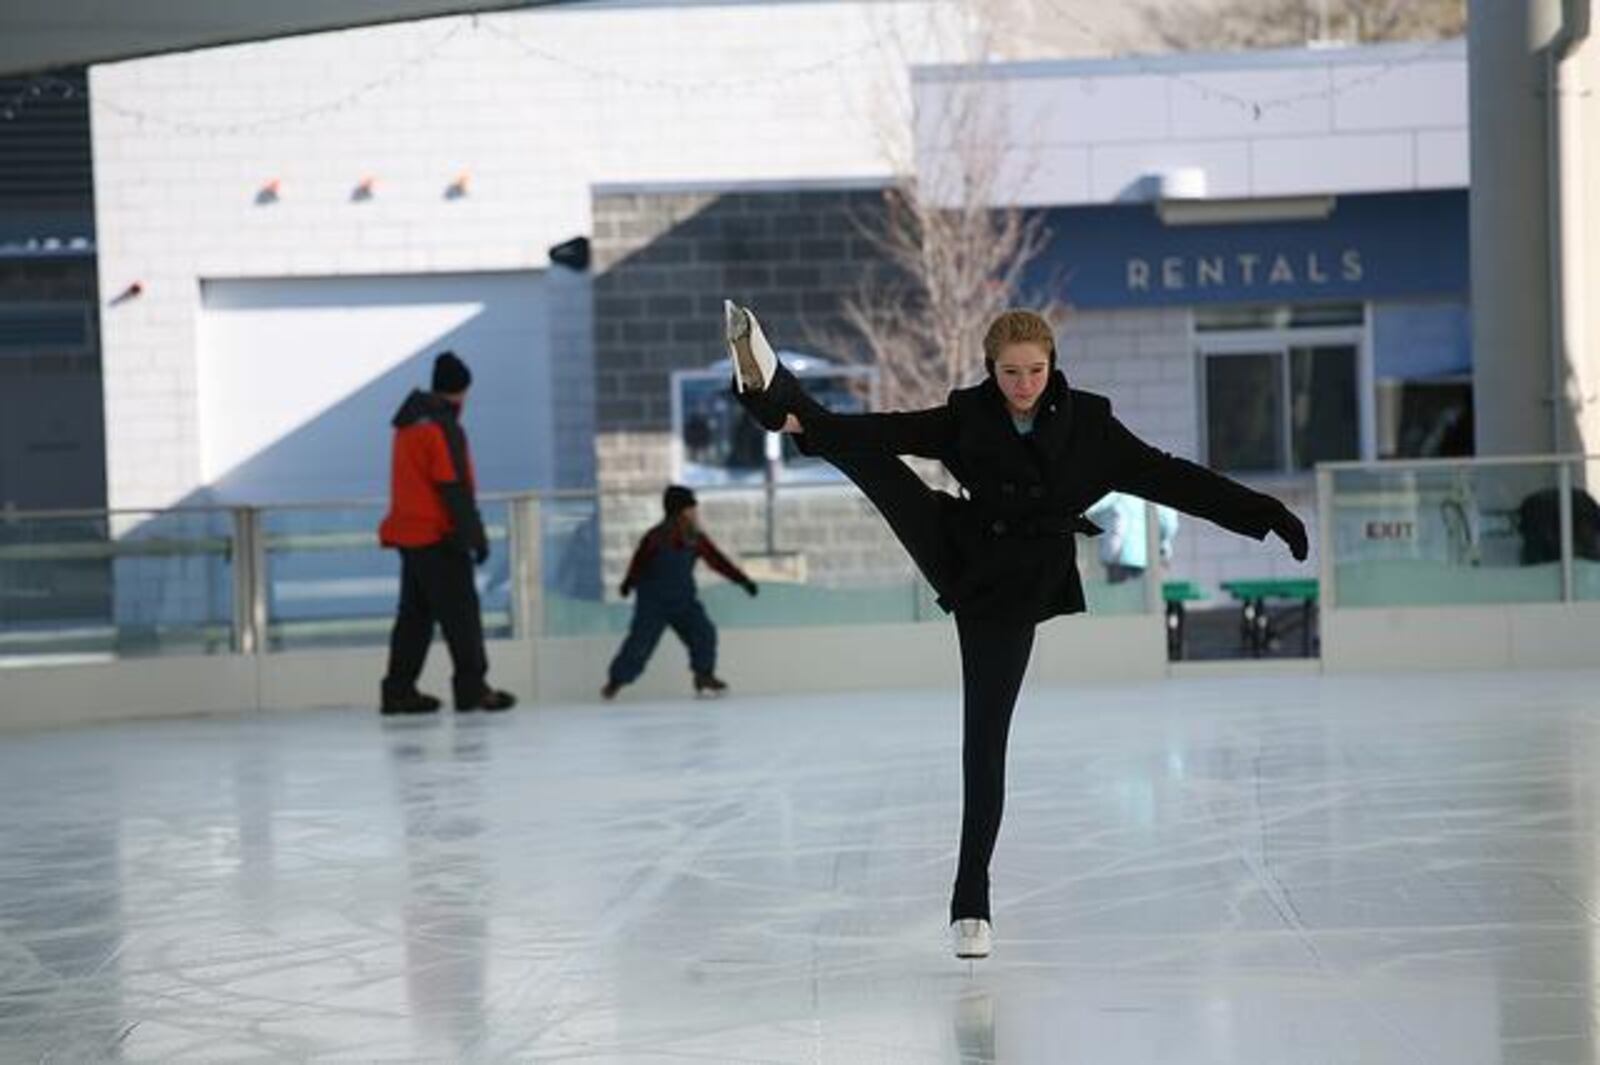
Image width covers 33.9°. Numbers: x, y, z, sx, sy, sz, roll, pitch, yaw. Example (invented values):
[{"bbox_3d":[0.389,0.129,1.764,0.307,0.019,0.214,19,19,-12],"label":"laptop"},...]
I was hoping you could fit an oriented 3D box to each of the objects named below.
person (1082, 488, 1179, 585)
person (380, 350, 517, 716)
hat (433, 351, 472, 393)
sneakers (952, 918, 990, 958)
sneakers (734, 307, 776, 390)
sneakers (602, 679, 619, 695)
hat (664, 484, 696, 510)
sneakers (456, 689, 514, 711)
[{"bbox_3d":[2.431,0.060,19.728,0.771,1.085,0.376,3,8,16],"label":"person"},{"bbox_3d":[-2.757,0.031,19.642,0.855,2.700,0.785,-2,-1,-8],"label":"person"},{"bbox_3d":[-2.642,-1.146,19.812,0.280,0.290,0.354,2,-9,-9],"label":"hat"},{"bbox_3d":[0.937,2.268,14.554,0.190,0.173,0.215,3,-1,-4],"label":"sneakers"},{"bbox_3d":[-0.291,-0.982,14.567,0.191,0.161,0.550,-2,-38,20],"label":"sneakers"},{"bbox_3d":[-1.498,1.239,20.493,0.136,0.139,0.173,-2,-1,-7],"label":"sneakers"},{"bbox_3d":[-0.925,-0.236,20.513,0.294,0.195,0.169,-2,-1,-25],"label":"hat"},{"bbox_3d":[-2.380,1.292,19.744,0.368,0.120,0.179,-3,0,-3],"label":"sneakers"}]
